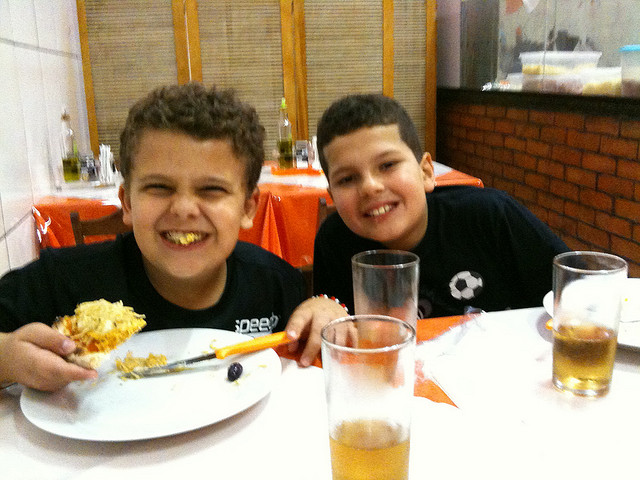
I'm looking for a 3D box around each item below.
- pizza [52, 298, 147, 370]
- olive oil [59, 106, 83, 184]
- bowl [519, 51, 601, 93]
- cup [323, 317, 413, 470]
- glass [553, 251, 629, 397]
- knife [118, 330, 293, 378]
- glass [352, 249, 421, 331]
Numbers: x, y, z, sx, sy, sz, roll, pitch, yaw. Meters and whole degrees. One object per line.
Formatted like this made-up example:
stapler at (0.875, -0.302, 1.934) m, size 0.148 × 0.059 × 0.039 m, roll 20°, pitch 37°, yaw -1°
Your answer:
pizza at (-0.419, 0.152, 0.949) m, size 0.120 × 0.050 × 0.164 m, roll 17°, pitch 27°, yaw 3°
olive oil at (-1.463, -0.561, 2.961) m, size 0.103 × 0.445 × 0.118 m, roll 10°, pitch 18°, yaw 38°
bowl at (1.580, -1.102, 3.405) m, size 0.243 × 0.153 × 0.387 m, roll -2°, pitch 11°, yaw -2°
cup at (0.066, 0.211, 0.698) m, size 0.121 × 0.179 × 0.135 m, roll 0°, pitch 20°, yaw 9°
glass at (0.452, 0.130, 0.907) m, size 0.117 × 0.291 × 0.105 m, roll 1°, pitch 9°, yaw -1°
knife at (-0.227, 0.224, 0.984) m, size 0.232 × 0.020 × 0.039 m, roll -12°, pitch 25°, yaw -9°
glass at (0.135, 0.089, 1.019) m, size 0.112 × 0.186 × 0.102 m, roll -3°, pitch 13°, yaw -8°
